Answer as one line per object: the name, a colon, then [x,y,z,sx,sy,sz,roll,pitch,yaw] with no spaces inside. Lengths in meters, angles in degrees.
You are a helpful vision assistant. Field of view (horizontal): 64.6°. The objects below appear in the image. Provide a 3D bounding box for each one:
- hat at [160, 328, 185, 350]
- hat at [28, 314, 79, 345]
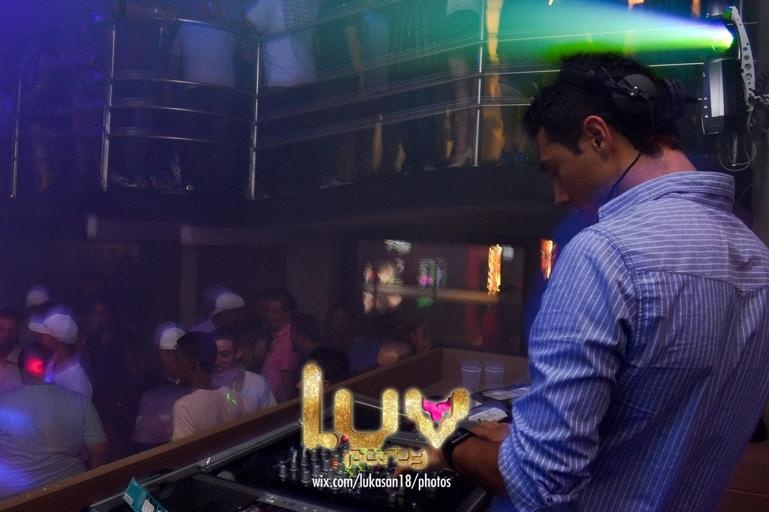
hat: [-1.207,0.467,3.464,0.116,0.136,0.101,14,-7,-16]
hat: [-1.956,0.464,3.609,0.258,0.138,0.162,6,42,-16]
